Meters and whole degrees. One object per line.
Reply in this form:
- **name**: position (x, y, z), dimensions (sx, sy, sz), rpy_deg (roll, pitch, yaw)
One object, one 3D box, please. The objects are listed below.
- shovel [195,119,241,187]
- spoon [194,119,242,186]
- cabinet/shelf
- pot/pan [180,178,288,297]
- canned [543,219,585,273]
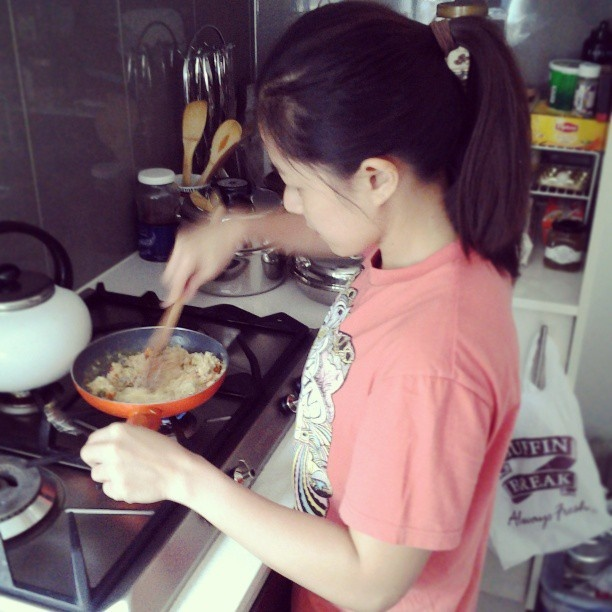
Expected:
- **shovel**: position (-0.212, -0.379, 1.416), dimensions (0.052, 0.224, 0.018), rpy_deg (25, 25, 2)
- **spoon**: position (-0.210, -0.381, 1.417), dimensions (0.053, 0.223, 0.025), rpy_deg (25, 26, 2)
- **cabinet/shelf**: position (0.665, -0.259, 1.495), dimensions (0.123, 0.269, 0.127), rpy_deg (11, 6, 20)
- **pot/pan**: position (-0.170, -0.118, 1.464), dimensions (0.239, 0.252, 0.278), rpy_deg (3, 34, -9)
- **canned**: position (0.649, -0.149, 1.484), dimensions (0.105, 0.128, 0.119), rpy_deg (5, 40, 13)
